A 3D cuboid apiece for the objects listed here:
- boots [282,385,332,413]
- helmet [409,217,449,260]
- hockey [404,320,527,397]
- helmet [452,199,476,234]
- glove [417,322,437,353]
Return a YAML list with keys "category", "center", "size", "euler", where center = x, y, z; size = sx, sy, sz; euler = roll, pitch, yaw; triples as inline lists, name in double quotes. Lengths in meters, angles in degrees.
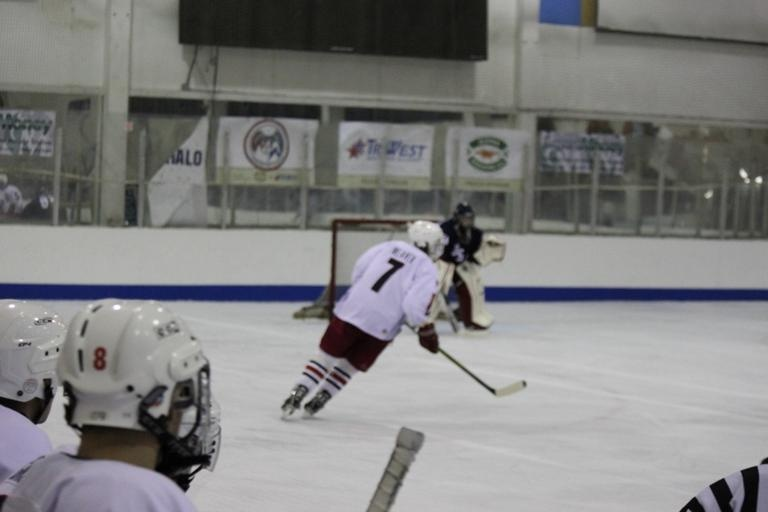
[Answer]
- category: "boots"
  center: [-0.690, 1.327, 11.919]
  size: [0.451, 0.314, 0.163]
  euler: [5, 5, -7]
- category: "helmet"
  center: [0.433, -0.161, 12.356]
  size: [0.327, 0.366, 0.287]
  euler: [2, 18, -12]
- category: "hockey"
  center: [0.825, 1.055, 13.058]
  size: [1.536, 0.181, 0.198]
  euler: [28, -17, 51]
- category: "helmet"
  center: [0.900, -0.427, 14.206]
  size: [0.216, 0.303, 0.191]
  euler: [5, 5, 3]
- category: "glove"
  center: [0.452, 0.754, 12.093]
  size: [0.147, 0.177, 0.280]
  euler: [-8, 49, -19]
